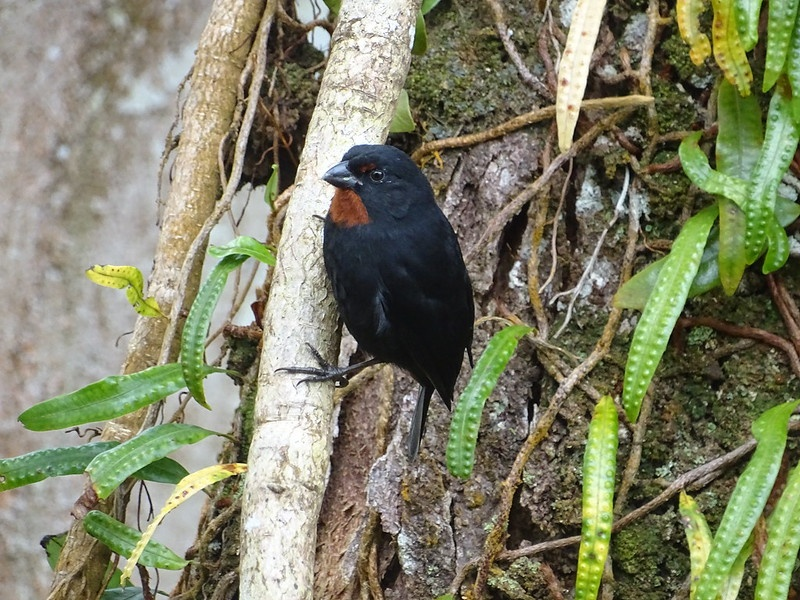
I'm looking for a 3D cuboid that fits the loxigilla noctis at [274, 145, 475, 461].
[{"bbox_3d":[0.001,0.001,4.077,0.460,0.996,0.909,-15,-27,16],"label":"loxigilla noctis"}]
